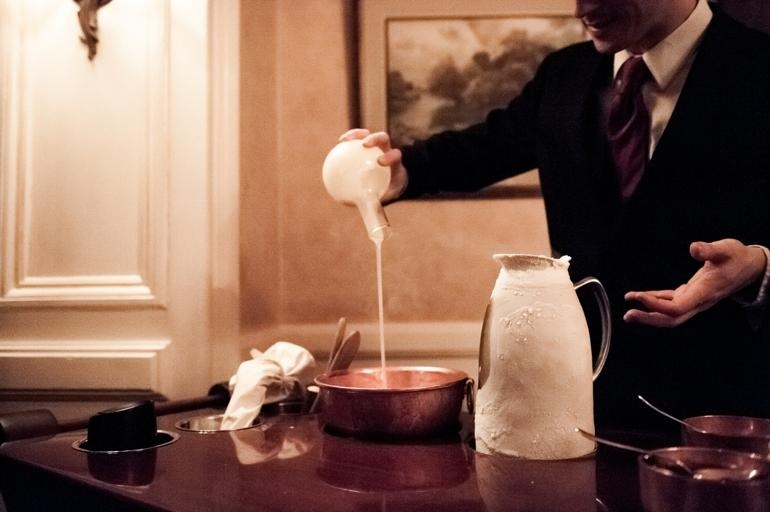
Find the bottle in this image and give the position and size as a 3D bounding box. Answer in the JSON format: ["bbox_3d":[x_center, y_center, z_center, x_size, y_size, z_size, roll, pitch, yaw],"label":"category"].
[{"bbox_3d":[-0.038,-0.129,1.388,0.138,0.199,0.109,8,15,36],"label":"bottle"}]

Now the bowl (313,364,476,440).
[{"bbox_3d":[0.009,0.296,1.428,0.287,0.098,0.282,0,1,0],"label":"bowl"}]
